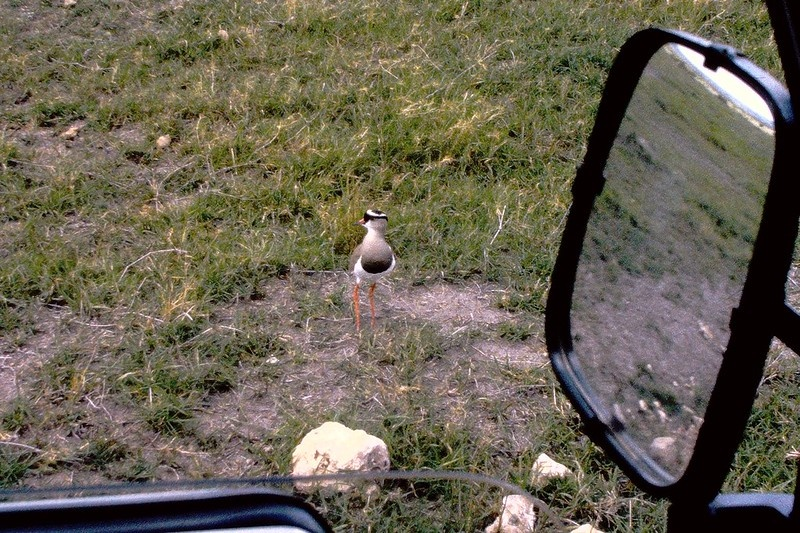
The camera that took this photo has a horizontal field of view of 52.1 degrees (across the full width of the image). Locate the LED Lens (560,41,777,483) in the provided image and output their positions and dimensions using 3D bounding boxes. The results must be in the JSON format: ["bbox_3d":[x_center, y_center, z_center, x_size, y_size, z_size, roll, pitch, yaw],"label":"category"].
[{"bbox_3d":[1.106,0.084,3.446,0.301,1.836,1.112,0,20,-24],"label":"LED Lens"}]

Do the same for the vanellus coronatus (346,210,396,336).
[{"bbox_3d":[-0.180,0.005,5.238,0.279,0.627,0.609,2,34,-4],"label":"vanellus coronatus"}]
